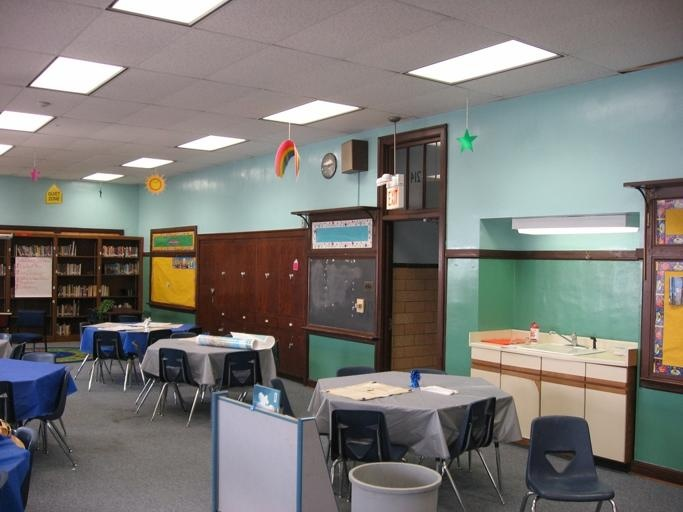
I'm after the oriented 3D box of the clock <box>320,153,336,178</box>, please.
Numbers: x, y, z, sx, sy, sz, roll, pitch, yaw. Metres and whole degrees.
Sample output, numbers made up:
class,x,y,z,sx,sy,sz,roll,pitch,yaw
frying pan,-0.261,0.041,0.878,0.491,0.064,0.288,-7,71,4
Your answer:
class,x,y,z,sx,sy,sz,roll,pitch,yaw
clock,-0.217,-1.489,8.519,0.056,0.450,0.434,3,0,-31

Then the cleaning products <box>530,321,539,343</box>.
class,x,y,z,sx,sy,sz,roll,pitch,yaw
cleaning products,2.475,0.964,6.614,0.112,0.237,0.231,1,2,20

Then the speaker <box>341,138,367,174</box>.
class,x,y,z,sx,sy,sz,roll,pitch,yaw
speaker,0.205,-1.530,7.954,0.288,0.533,0.541,1,-3,-21

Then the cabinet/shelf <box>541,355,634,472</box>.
class,x,y,z,sx,sy,sz,roll,pitch,yaw
cabinet/shelf,2.516,1.584,5.184,0.407,1.301,1.123,4,-5,-38

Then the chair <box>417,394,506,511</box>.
class,x,y,z,sx,sy,sz,roll,pitch,yaw
chair,1.231,1.766,4.896,0.603,1.019,1.238,1,1,17

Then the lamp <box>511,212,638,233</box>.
class,x,y,z,sx,sy,sz,roll,pitch,yaw
lamp,2.652,-0.373,5.878,1.305,0.202,0.345,2,2,45

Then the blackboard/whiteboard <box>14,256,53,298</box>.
class,x,y,z,sx,sy,sz,roll,pitch,yaw
blackboard/whiteboard,-7.539,0.526,12.569,0.955,1.189,0.085,3,-7,-39
